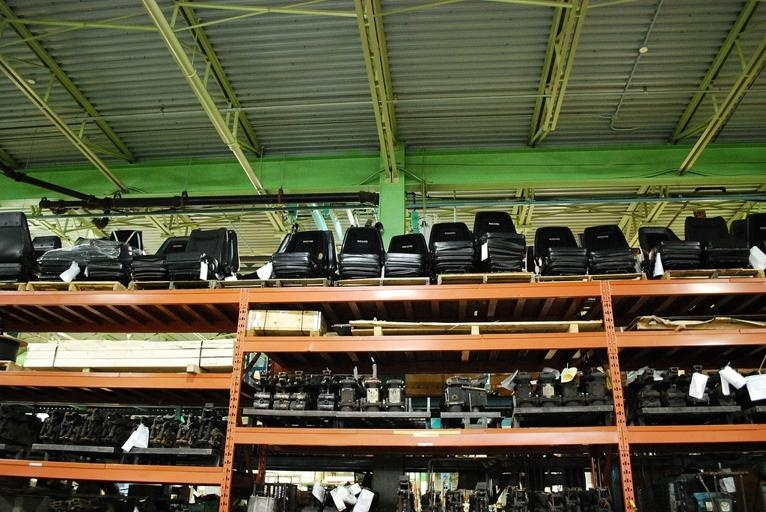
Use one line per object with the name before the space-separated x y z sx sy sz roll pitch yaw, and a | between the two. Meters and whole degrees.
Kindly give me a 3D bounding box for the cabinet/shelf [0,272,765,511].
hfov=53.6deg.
cabinet/shelf | 0.277 2.153 11.776 11.834 3.499 1.606 -1 -30 3
